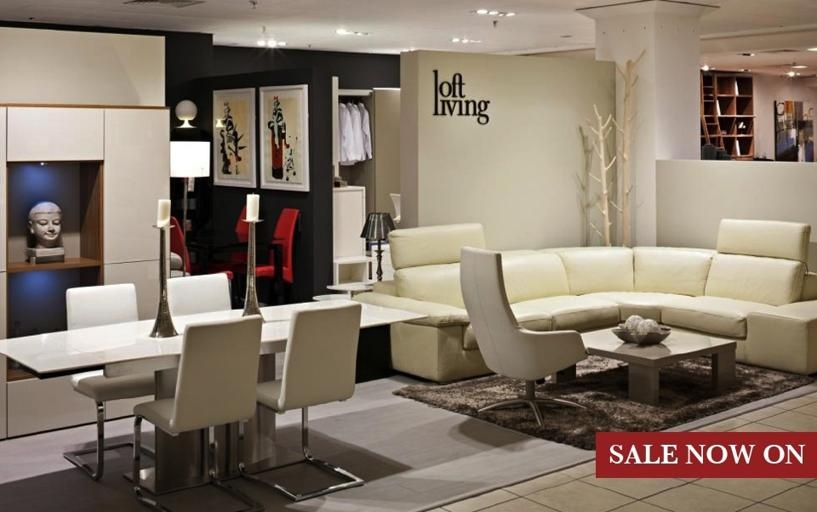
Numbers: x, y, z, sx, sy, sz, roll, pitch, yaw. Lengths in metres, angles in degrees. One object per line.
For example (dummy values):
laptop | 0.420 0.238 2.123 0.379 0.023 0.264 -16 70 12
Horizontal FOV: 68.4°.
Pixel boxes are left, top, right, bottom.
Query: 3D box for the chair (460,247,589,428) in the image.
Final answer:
chair | 0.918 0.597 5.912 1.419 1.900 1.345 -2 2 -26

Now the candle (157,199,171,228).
candle | -1.746 -0.306 4.275 0.075 0.183 0.188 -2 12 -6

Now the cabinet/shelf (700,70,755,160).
cabinet/shelf | 8.078 -3.543 15.097 2.021 2.115 0.790 -7 14 -28

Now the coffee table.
coffee table | 2.342 0.987 5.723 1.140 0.331 1.116 -6 4 -13
